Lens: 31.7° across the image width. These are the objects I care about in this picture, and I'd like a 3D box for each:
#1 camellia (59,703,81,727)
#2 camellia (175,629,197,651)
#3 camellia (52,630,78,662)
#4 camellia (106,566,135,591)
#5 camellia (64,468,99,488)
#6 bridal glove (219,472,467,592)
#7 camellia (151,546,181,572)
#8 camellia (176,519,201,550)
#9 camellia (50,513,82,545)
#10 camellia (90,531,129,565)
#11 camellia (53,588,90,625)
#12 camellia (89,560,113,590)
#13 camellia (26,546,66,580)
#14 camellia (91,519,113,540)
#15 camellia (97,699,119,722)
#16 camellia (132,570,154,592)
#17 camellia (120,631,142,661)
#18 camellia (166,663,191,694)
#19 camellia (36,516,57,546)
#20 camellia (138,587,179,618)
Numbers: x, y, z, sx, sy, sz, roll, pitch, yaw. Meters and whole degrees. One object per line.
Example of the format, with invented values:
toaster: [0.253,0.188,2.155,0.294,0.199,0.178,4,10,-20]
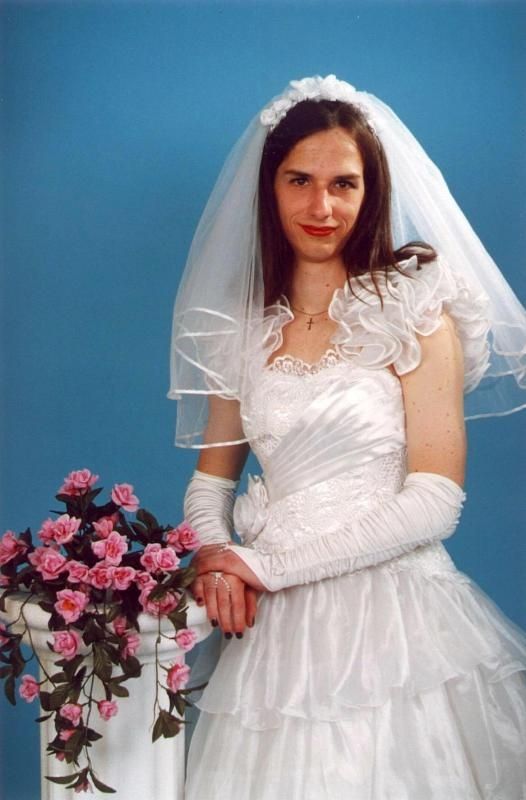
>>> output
camellia: [-0.301,0.495,1.450,0.032,0.041,0.041,-3,-7,-15]
camellia: [-0.123,0.383,1.479,0.036,0.034,0.017,12,4,-16]
camellia: [-0.304,0.377,1.423,0.036,0.041,0.021,-3,-7,-17]
camellia: [-0.220,0.279,1.450,0.042,0.036,0.027,-3,-7,-9]
camellia: [-0.328,0.143,1.660,0.044,0.028,0.044,4,26,19]
bridal glove: [0.141,0.179,1.653,0.339,0.100,0.245,-17,-6,-16]
camellia: [-0.157,0.259,1.488,0.038,0.037,0.019,-19,-26,-35]
camellia: [-0.134,0.233,1.598,0.046,0.044,0.023,14,-41,-35]
camellia: [-0.322,0.211,1.510,0.042,0.046,0.042,-3,-6,-13]
camellia: [-0.238,0.240,1.496,0.050,0.050,0.098,-6,-6,10]
camellia: [-0.301,0.324,1.456,0.050,0.056,0.090,-3,-6,-13]
camellia: [-0.251,0.274,1.450,0.044,0.038,0.020,-9,0,10]
camellia: [-0.349,0.266,1.503,0.055,0.052,0.108,-3,-6,-16]
camellia: [-0.267,0.216,1.541,0.036,0.021,0.035,8,-12,3]
camellia: [-0.252,0.505,1.502,0.031,0.047,0.072,-4,-6,-10]
camellia: [-0.188,0.288,1.469,0.033,0.029,0.024,-3,-7,-12]
camellia: [-0.207,0.388,1.456,0.023,0.035,0.036,4,21,19]
camellia: [-0.138,0.455,1.516,0.027,0.053,0.050,35,-16,11]
camellia: [-0.361,0.221,1.558,0.028,0.043,0.041,3,-38,-11]
camellia: [-0.161,0.324,1.476,0.072,0.050,0.048,-2,-7,-21]
